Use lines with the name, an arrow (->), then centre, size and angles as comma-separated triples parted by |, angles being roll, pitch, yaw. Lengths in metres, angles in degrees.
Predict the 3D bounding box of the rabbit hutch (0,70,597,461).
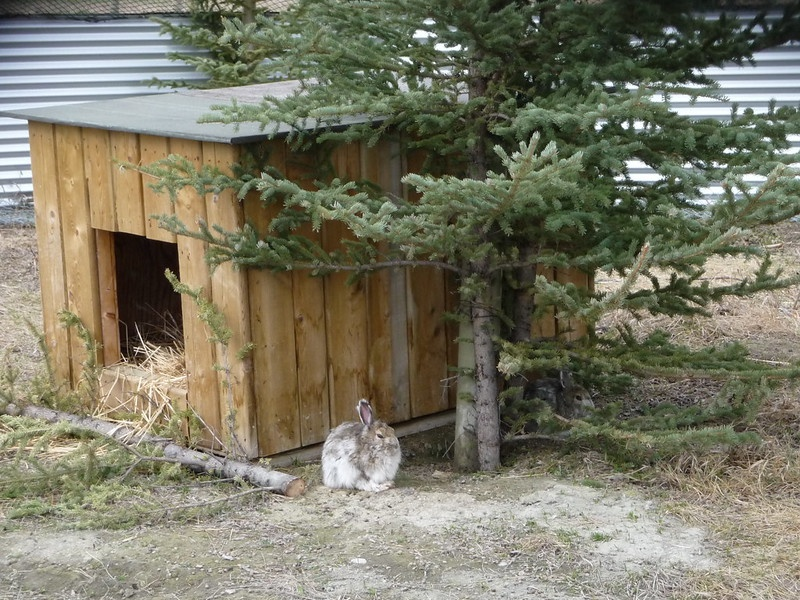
rabbit hutch -> -1.654, -0.244, 8.486 | 3.480, 2.957, 1.952 | 4, 13, 24

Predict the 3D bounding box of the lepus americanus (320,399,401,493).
lepus americanus -> -0.340, 1.124, 7.665 | 0.754, 0.709, 0.533 | 2, 11, 36
